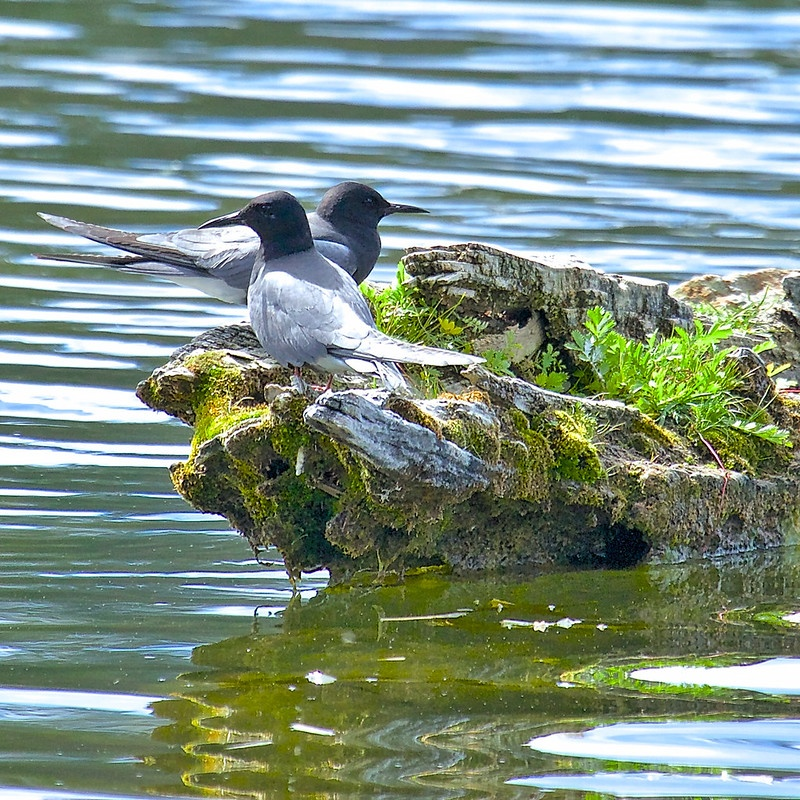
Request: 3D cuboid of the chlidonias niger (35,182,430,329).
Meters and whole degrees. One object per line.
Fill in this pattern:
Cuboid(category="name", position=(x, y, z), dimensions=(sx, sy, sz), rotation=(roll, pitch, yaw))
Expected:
Cuboid(category="chlidonias niger", position=(-1.074, -0.950, 11.372), dimensions=(2.510, 0.827, 0.638), rotation=(2, 12, 3))
